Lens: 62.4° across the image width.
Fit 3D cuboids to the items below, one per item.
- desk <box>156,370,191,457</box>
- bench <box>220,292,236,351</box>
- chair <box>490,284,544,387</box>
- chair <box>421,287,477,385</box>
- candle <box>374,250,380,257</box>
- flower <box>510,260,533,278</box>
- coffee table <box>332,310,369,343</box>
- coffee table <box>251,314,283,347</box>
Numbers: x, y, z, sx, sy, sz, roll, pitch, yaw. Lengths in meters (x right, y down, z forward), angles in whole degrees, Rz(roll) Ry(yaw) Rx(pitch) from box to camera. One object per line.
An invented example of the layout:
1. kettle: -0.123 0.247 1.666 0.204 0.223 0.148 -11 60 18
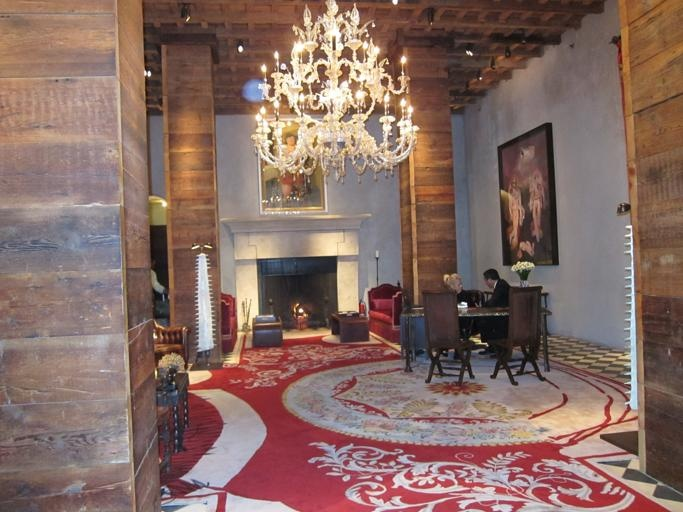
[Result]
1. desk: -1.529 1.375 5.143 0.271 0.746 0.746 -3 5 -17
2. bench: -1.954 1.150 9.631 0.263 0.442 1.018 -1 5 -9
3. chair: 2.106 0.921 6.827 0.676 1.166 0.685 -2 -2 15
4. chair: 1.310 0.964 6.933 0.551 1.130 0.517 -6 -7 42
5. candle: 0.822 -0.047 12.670 0.123 0.204 0.130 5 3 25
6. flower: 2.950 0.186 9.213 0.337 0.252 0.345 2 6 32
7. coffee table: 0.167 1.297 10.551 0.574 0.503 1.302 -2 5 -7
8. coffee table: -1.344 1.366 10.126 0.516 0.384 0.798 -2 5 -10
